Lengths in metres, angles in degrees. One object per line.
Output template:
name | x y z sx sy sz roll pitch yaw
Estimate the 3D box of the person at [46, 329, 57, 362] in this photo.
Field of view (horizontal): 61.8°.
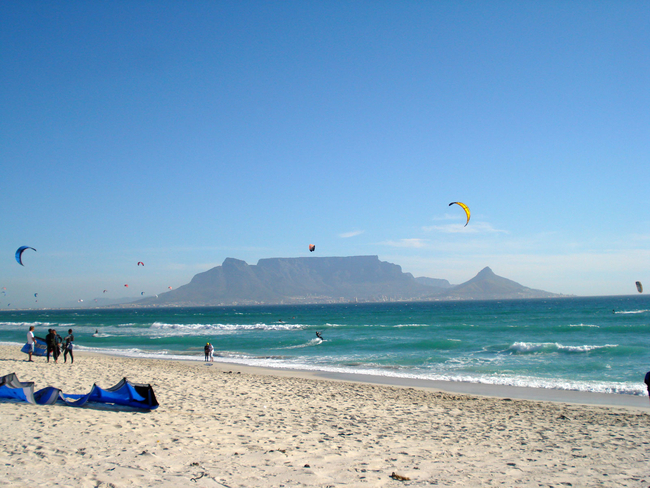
person | -10.570 3.956 21.186 0.401 1.263 0.948 1 -7 -28
